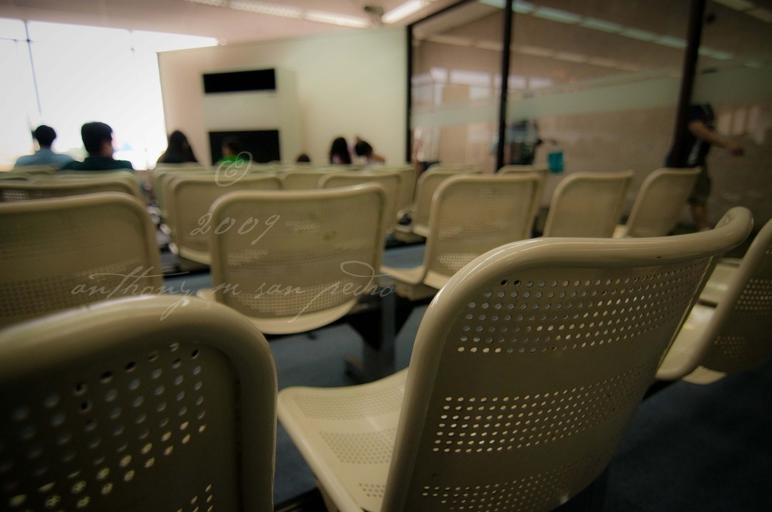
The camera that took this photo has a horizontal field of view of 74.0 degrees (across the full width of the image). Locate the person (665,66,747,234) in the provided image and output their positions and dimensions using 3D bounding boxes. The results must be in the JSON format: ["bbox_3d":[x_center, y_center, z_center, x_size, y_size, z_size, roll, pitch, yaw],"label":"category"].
[{"bbox_3d":[1.798,-0.544,2.862,0.303,0.859,0.283,-5,6,19],"label":"person"}]
